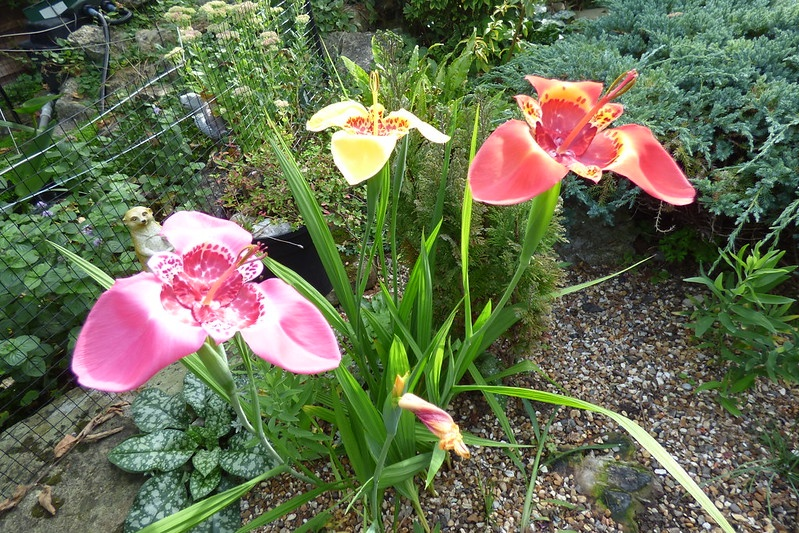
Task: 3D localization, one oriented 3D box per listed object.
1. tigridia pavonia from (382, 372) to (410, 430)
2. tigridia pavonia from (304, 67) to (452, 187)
[{"bbox_3d":[0.009,0.516,1.964,0.054,0.230,0.047,7,14,31],"label":"tigridia pavonia"},{"bbox_3d":[-0.124,-0.577,2.187,0.478,0.351,0.504,-27,52,-23],"label":"tigridia pavonia"}]
